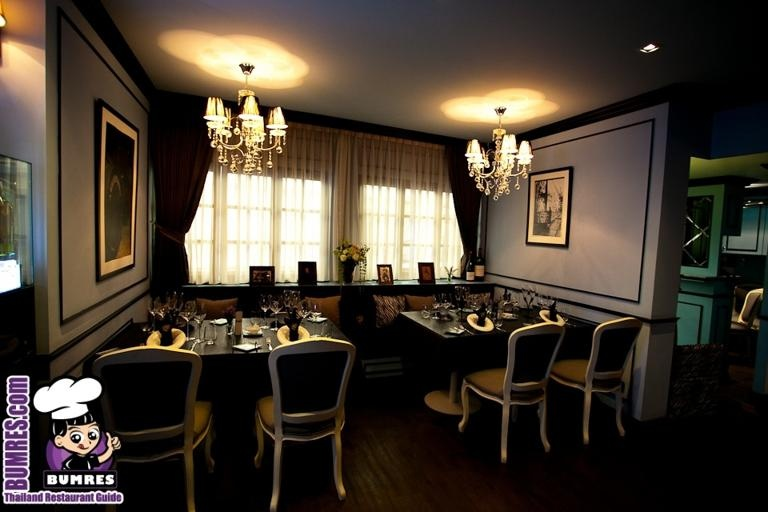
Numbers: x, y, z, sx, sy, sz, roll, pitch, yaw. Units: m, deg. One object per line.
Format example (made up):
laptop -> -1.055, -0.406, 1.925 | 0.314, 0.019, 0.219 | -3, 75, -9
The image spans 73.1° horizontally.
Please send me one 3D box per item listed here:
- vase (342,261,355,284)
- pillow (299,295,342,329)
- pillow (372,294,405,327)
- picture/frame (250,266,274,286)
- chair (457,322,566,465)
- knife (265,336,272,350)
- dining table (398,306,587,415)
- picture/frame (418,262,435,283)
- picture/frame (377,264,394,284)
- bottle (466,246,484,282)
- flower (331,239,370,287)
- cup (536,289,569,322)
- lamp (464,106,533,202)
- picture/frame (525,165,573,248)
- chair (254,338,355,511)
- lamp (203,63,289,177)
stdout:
vase -> -0.472, 0.244, 7.349 | 0.168, 0.325, 0.233 | 2, 4, 31
pillow -> -0.818, 0.725, 6.516 | 0.456, 0.394, 0.165 | 1, 7, -22
pillow -> 0.063, 0.783, 7.240 | 0.415, 0.428, 0.115 | 0, -12, -15
picture/frame -> -1.647, 0.296, 6.932 | 0.238, 0.235, 0.086 | 0, -3, -20
chair -> 1.368, 1.415, 5.529 | 1.010, 1.435, 0.526 | 1, 3, 19
knife -> -1.191, 0.920, 5.360 | 0.041, 0.025, 0.299 | 0, 13, -13
dining table -> 0.978, 1.161, 6.428 | 1.440, 0.974, 1.485 | -2, 7, -27
picture/frame -> 0.632, 0.277, 7.777 | 0.283, 0.348, 0.026 | -1, -2, -26
picture/frame -> 0.006, 0.290, 7.597 | 0.271, 0.333, 0.022 | 3, -14, -32
bottle -> 1.462, 0.159, 8.241 | 0.330, 0.501, 0.202 | -2, 4, -39
flower -> -0.481, 0.148, 7.506 | 0.560, 0.596, 0.533 | 6, -10, -29
cup -> 2.130, 0.739, 6.635 | 0.337, 0.412, 0.365 | -9, 27, 5
lamp -> 1.587, -1.252, 7.143 | 1.011, 1.478, 1.087 | 3, 3, 32
picture/frame -> 2.268, -0.628, 7.138 | 0.060, 1.047, 0.742 | -2, 4, -31
chair -> -0.769, 1.554, 4.979 | 0.948, 1.603, 0.495 | 0, 3, -6
lamp -> -1.634, -1.609, 6.167 | 1.000, 1.251, 0.910 | 1, -2, -41
